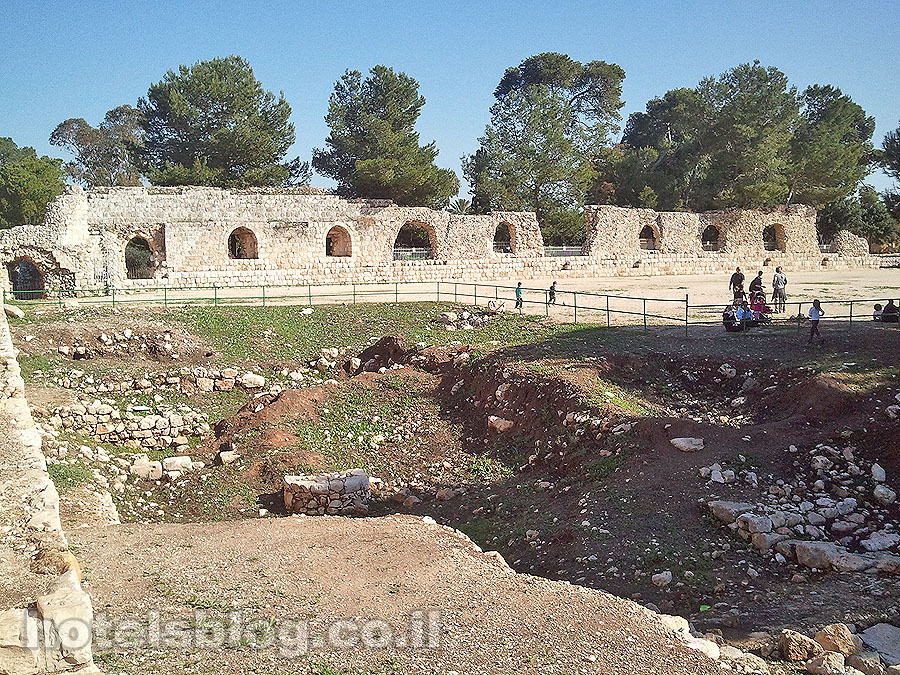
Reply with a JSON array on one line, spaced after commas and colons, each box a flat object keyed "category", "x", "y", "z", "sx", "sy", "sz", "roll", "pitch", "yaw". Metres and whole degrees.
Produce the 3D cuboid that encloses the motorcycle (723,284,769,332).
[{"category": "motorcycle", "x": 9.214, "y": -0.817, "z": 30.527, "sx": 1.281, "sy": 0.791, "sz": 1.691, "roll": 6, "pitch": 17, "yaw": 30}]
